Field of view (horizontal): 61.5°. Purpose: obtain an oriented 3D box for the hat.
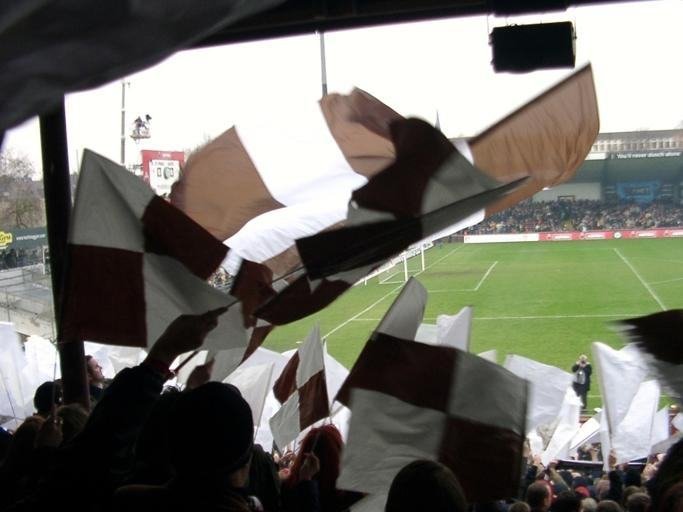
[{"bbox_3d":[-0.358,0.486,1.670,0.196,0.243,0.186,11,4,10],"label":"hat"}]
